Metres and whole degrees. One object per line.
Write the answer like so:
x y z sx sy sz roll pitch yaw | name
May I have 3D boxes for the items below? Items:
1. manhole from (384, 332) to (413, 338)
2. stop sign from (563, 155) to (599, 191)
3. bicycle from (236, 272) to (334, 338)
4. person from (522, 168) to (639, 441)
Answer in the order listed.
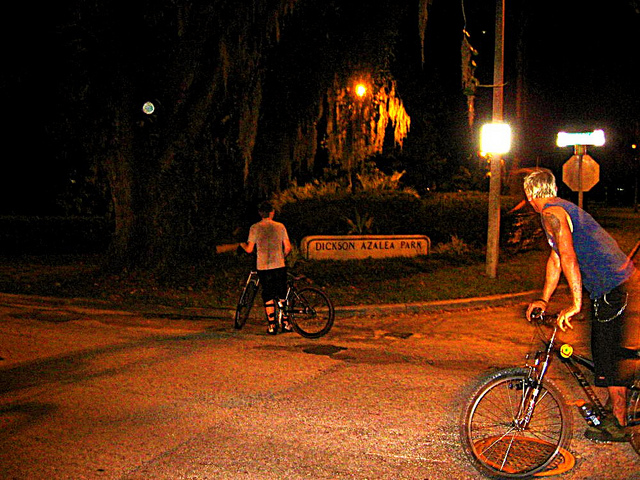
1.383 1.688 10.631 0.435 0.036 0.462 3 5 15 | manhole
7.892 -1.966 18.469 1.130 1.070 0.338 4 -3 2 | stop sign
-0.517 1.096 10.632 1.697 1.180 0.940 1 1 25 | bicycle
2.389 0.593 5.357 0.939 2.389 0.551 1 5 -5 | person
